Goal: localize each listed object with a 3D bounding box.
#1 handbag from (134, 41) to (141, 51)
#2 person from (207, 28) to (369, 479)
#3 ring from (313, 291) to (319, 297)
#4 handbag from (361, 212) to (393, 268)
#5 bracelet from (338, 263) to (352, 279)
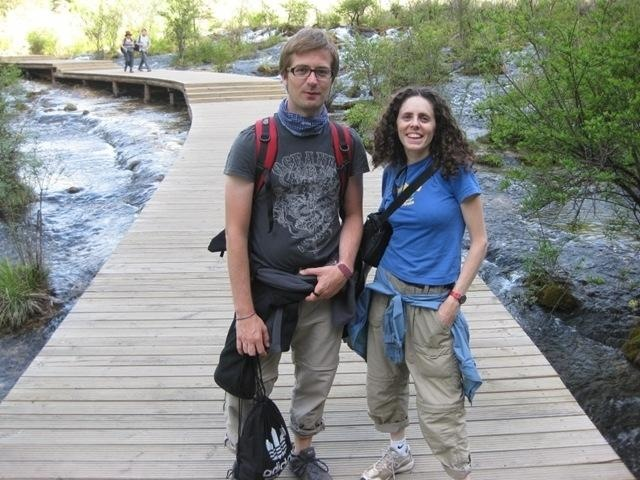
[{"bbox_3d":[-6.883,-7.211,19.959,0.169,0.267,0.429,-11,18,-30],"label":"handbag"},{"bbox_3d":[-0.130,0.163,2.850,0.956,2.480,0.603,-7,17,-18],"label":"person"},{"bbox_3d":[-0.025,0.280,2.792,0.007,0.025,0.026,-37,33,-16],"label":"ring"},{"bbox_3d":[0.317,0.002,2.966,0.166,0.312,0.236,17,10,7],"label":"handbag"},{"bbox_3d":[0.127,0.157,2.854,0.080,0.019,0.075,36,-3,-33],"label":"bracelet"}]
